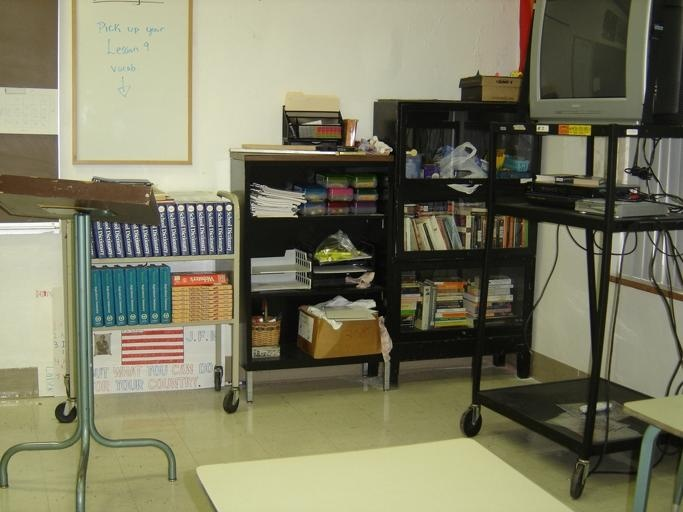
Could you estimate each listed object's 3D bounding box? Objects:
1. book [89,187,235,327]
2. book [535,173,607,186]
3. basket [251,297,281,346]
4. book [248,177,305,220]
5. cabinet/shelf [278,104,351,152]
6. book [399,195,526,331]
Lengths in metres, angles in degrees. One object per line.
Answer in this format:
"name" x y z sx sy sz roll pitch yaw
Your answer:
"book" -1.031 0.022 3.527 0.838 0.779 0.294 -1 5 -21
"book" 1.162 -0.384 3.127 0.160 0.048 0.378 -4 12 -24
"basket" -0.501 0.427 4.034 0.277 0.371 0.229 0 -2 -12
"book" -0.395 -0.351 3.894 0.359 0.207 0.131 0 11 -8
"cabinet/shelf" -0.160 -0.814 4.002 0.504 0.338 0.273 0 4 -11
"book" 0.783 0.024 4.155 0.922 0.841 0.306 -1 4 -19
